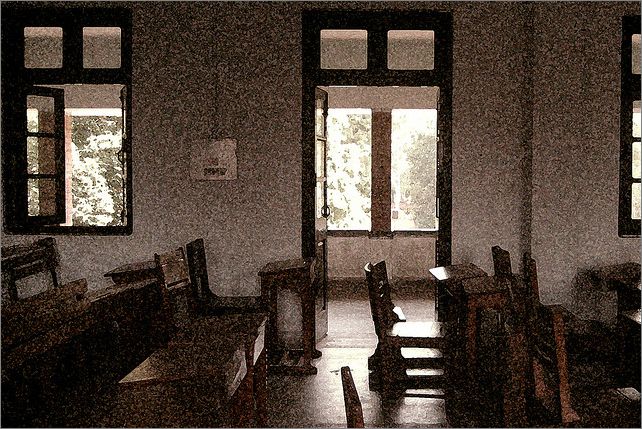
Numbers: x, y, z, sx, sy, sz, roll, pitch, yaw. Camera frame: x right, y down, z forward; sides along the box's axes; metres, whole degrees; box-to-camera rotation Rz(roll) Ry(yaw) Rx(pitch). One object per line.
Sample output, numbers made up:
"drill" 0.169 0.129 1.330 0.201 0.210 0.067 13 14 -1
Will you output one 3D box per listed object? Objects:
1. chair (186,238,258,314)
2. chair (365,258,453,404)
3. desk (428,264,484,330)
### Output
"chair" -0.915 0.625 5.689 0.875 0.855 0.556 -2 4 -3
"chair" 0.750 1.066 5.714 1.156 1.615 0.952 -3 7 4
"desk" 1.234 0.754 5.262 0.333 0.403 0.364 3 -16 44
